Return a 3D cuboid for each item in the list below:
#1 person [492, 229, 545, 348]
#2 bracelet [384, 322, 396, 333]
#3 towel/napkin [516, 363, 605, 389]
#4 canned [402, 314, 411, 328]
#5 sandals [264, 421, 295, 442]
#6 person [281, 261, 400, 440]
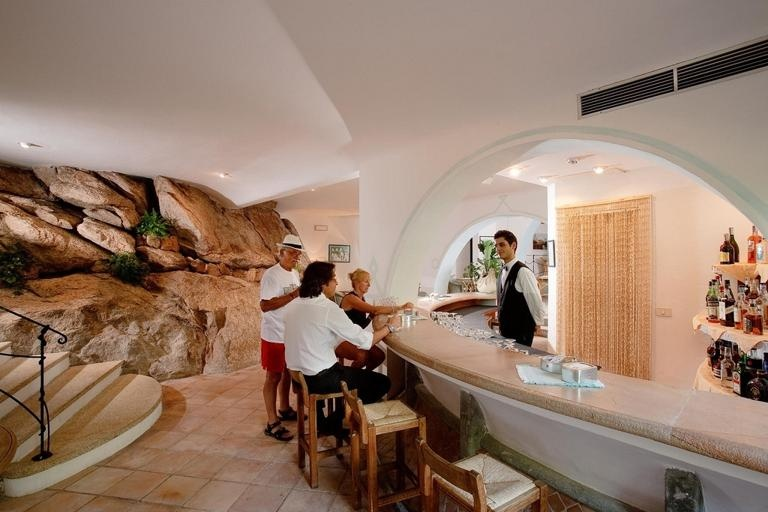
[{"bbox_3d":[1.365,0.316,4.601,0.305,1.164,0.536,-9,11,-23],"label":"person"},{"bbox_3d":[0.059,0.646,4.019,0.093,0.062,0.097,-6,-6,3],"label":"bracelet"},{"bbox_3d":[1.211,0.826,3.068,0.541,0.080,0.260,-3,9,7],"label":"towel/napkin"},{"bbox_3d":[0.232,0.661,4.498,0.099,0.089,0.128,0,-5,2],"label":"canned"},{"bbox_3d":[-1.109,1.851,4.696,0.298,0.123,0.145,-4,-7,36],"label":"sandals"},{"bbox_3d":[-0.369,0.897,4.221,1.128,1.634,0.819,-1,2,-37],"label":"person"}]
